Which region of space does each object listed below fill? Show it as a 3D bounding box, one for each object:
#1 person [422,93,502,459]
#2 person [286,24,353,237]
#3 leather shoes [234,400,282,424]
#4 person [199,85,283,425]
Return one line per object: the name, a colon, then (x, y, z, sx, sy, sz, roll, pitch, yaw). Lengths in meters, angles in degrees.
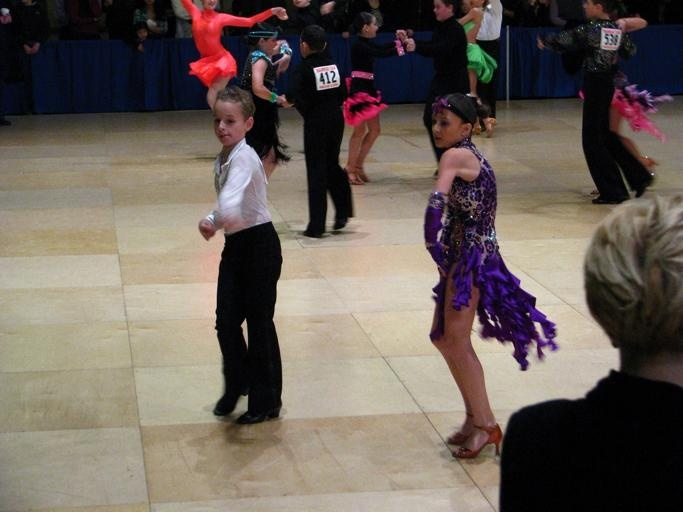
person: (0.772, 0.114, 3.838, 0.444, 2.247, 0.527, -1, 10, 9)
person: (-0.277, -1.575, 7.795, 0.483, 2.654, 0.975, 5, 13, 36)
leather shoes: (-0.565, 1.081, 4.259, 0.350, 0.129, 0.126, 0, 1, -19)
person: (-0.669, 0.017, 4.033, 0.519, 2.287, 0.611, -2, 10, 1)
